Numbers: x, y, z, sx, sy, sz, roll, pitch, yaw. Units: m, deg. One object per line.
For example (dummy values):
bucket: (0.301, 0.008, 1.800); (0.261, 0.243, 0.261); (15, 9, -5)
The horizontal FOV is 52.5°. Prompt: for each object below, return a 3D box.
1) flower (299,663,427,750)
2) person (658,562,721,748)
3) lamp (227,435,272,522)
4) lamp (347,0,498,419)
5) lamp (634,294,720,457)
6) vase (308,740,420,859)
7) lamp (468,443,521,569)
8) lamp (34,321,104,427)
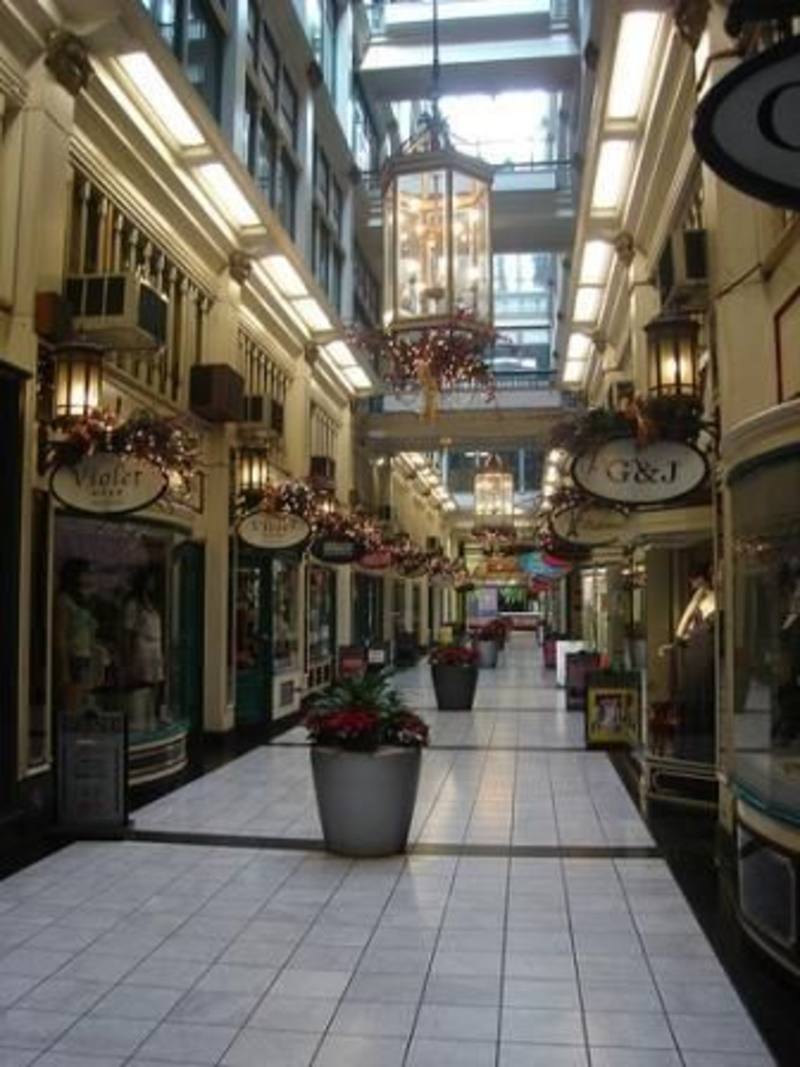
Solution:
flower: (-0.215, 1.265, 5.736); (0.822, 0.486, 0.894); (-2, -5, 0)
person: (2.508, 0.984, 6.764); (0.334, 1.447, 0.946); (-1, -5, -2)
lamp: (-1.959, -0.706, 10.641); (0.470, 1.062, 0.323); (-1, -5, -6)
lamp: (0.291, -2.760, 6.962); (1.083, 3.558, 1.536); (-1, -5, -2)
lamp: (2.107, -1.197, 6.048); (0.469, 1.162, 0.860); (-3, -5, 19)
vase: (-0.240, 1.816, 5.645); (0.763, 0.660, 0.755); (2, -3, 5)
lamp: (2.737, -1.043, 22.808); (1.045, 2.664, 1.144); (-2, -12, 12)
lamp: (-2.449, -1.151, 6.041); (0.442, 0.780, 0.276); (-3, -5, 14)
